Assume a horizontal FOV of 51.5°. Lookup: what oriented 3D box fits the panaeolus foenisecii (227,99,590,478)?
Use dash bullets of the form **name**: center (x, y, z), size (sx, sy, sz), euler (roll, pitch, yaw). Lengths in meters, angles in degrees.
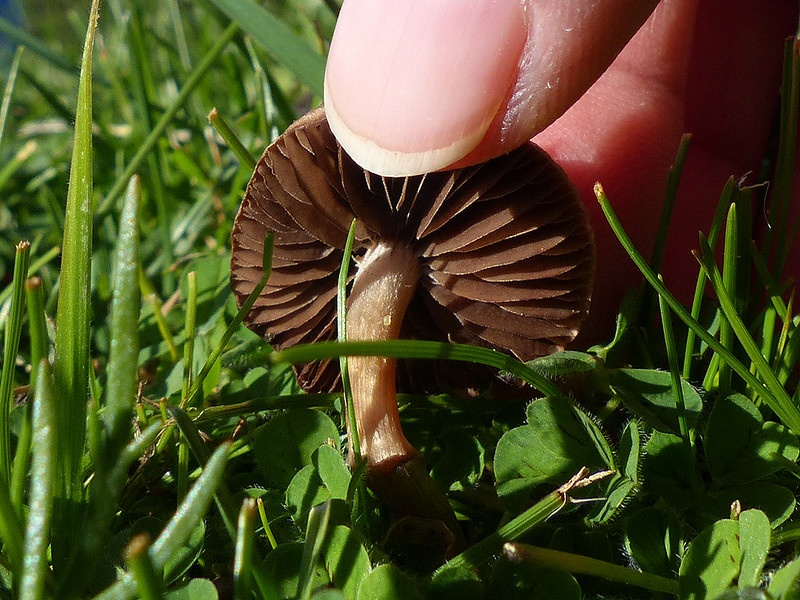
- **panaeolus foenisecii**: center (0.021, -0.090, 1.491), size (0.550, 0.643, 0.424), euler (-7, 14, -19)
